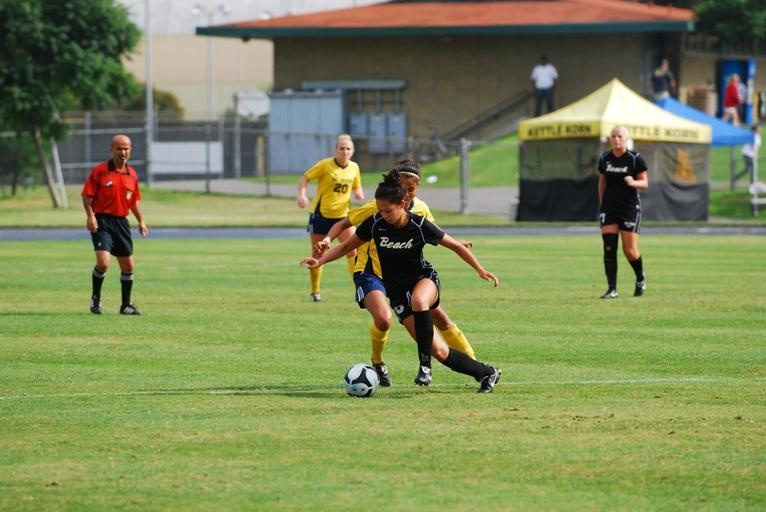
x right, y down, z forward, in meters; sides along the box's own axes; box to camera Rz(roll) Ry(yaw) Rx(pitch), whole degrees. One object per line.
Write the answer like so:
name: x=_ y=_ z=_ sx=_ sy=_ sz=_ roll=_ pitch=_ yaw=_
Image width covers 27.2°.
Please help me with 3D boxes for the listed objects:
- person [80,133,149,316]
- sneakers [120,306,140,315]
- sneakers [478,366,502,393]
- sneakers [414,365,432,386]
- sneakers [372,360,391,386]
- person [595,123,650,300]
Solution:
person: x=-5.333 y=-0.622 z=31.391 sx=1.187 sy=3.533 sz=1.430 roll=-1 pitch=4 yaw=-8
sneakers: x=-4.973 y=1.092 z=30.972 sx=0.437 sy=0.171 sz=0.151 roll=-1 pitch=1 yaw=8
sneakers: x=1.837 y=2.192 z=27.034 sx=0.206 sy=0.273 sz=0.598 roll=-9 pitch=36 yaw=43
sneakers: x=0.675 y=2.089 z=26.896 sx=0.212 sy=0.212 sz=0.436 roll=0 pitch=-8 yaw=10
sneakers: x=-0.004 y=2.085 z=27.425 sx=0.200 sy=0.513 sz=0.246 roll=-19 pitch=15 yaw=24
person: x=4.833 y=-0.861 z=32.055 sx=0.947 sy=3.506 sz=0.999 roll=0 pitch=4 yaw=7
